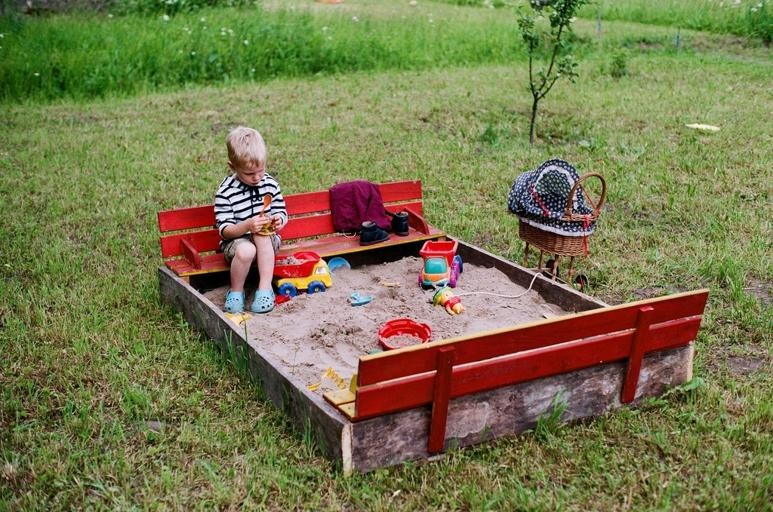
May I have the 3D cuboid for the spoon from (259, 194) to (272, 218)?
[{"bbox_3d":[-1.138,-0.462,7.003,0.063,0.332,0.049,18,51,-7],"label":"spoon"}]

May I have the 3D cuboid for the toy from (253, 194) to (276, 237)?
[{"bbox_3d":[-1.123,-0.390,6.952,0.139,0.424,0.066,27,-15,-33],"label":"toy"}]

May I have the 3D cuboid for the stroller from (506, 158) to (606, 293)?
[{"bbox_3d":[1.681,-0.238,7.347,0.659,1.174,1.014,-14,26,-16],"label":"stroller"}]

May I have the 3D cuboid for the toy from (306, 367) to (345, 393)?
[{"bbox_3d":[-0.466,1.004,5.952,0.165,0.093,0.234,32,16,11],"label":"toy"}]

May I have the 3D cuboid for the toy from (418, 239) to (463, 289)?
[{"bbox_3d":[0.523,-0.053,7.182,0.356,0.329,0.649,0,13,5],"label":"toy"}]

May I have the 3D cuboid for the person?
[{"bbox_3d":[-1.267,-0.357,6.905,0.691,1.508,0.951,-4,24,-9],"label":"person"}]

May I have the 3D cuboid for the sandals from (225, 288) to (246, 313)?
[{"bbox_3d":[-1.385,0.417,6.820,0.179,0.194,0.464,0,2,-9],"label":"sandals"}]

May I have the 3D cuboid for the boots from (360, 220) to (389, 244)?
[{"bbox_3d":[-0.138,-0.235,7.509,0.299,0.199,0.160,-9,22,-27],"label":"boots"}]

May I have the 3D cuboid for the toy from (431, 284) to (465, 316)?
[{"bbox_3d":[0.587,0.404,6.834,0.200,0.145,0.263,-27,47,-25],"label":"toy"}]

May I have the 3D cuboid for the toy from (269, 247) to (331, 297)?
[{"bbox_3d":[-0.819,0.147,7.144,0.480,0.272,0.344,-4,17,-10],"label":"toy"}]

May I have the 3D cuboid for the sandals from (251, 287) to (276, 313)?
[{"bbox_3d":[-1.140,0.408,6.856,0.219,0.156,0.224,-4,24,-10],"label":"sandals"}]
